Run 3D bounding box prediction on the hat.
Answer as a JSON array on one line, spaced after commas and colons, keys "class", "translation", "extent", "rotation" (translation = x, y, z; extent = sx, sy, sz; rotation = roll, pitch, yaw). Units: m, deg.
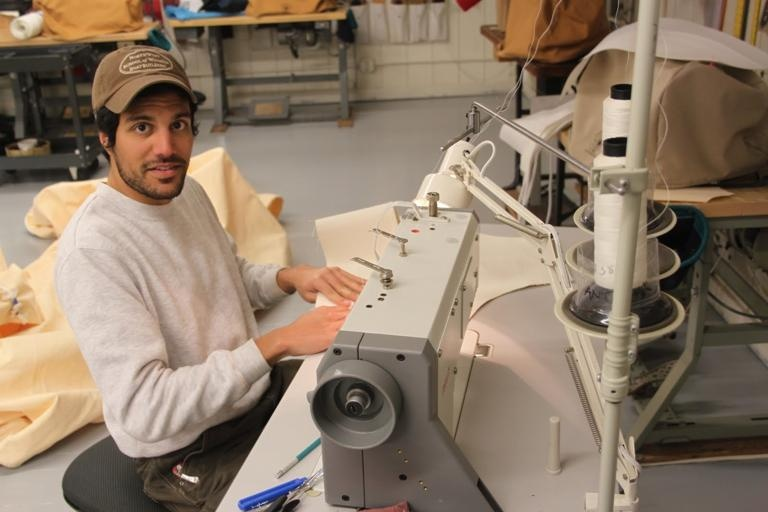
[{"class": "hat", "translation": [-0.700, -0.513, 1.718], "extent": [0.262, 0.187, 0.355], "rotation": [-18, 17, -33]}]
